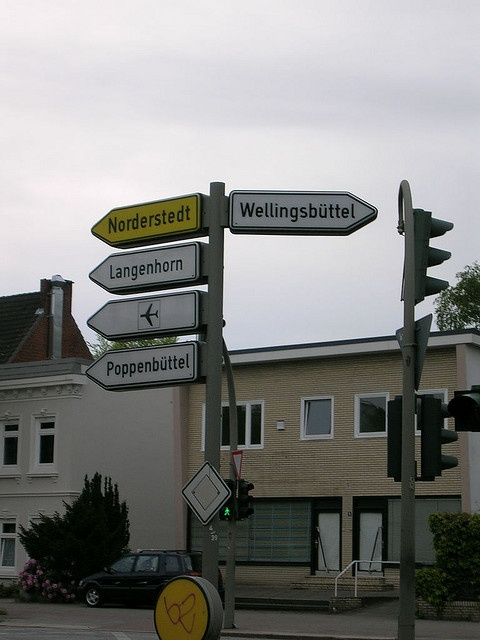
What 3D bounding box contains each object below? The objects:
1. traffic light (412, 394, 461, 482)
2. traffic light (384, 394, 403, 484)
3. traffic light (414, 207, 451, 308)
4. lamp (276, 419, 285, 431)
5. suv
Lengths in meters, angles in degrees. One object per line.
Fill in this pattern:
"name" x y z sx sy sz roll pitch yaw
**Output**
"traffic light" 1.970 1.198 12.887 0.384 0.885 0.547 -5 -9 28
"traffic light" 1.596 1.228 13.084 0.158 0.889 0.335 -1 -8 6
"traffic light" 2.035 -0.670 13.421 0.488 1.061 0.305 4 -9 -30
"lamp" 1.090 2.926 34.936 0.269 0.458 0.206 0 -11 0
"suv" -2.149 5.672 27.503 3.097 1.218 0.761 -8 -11 38
